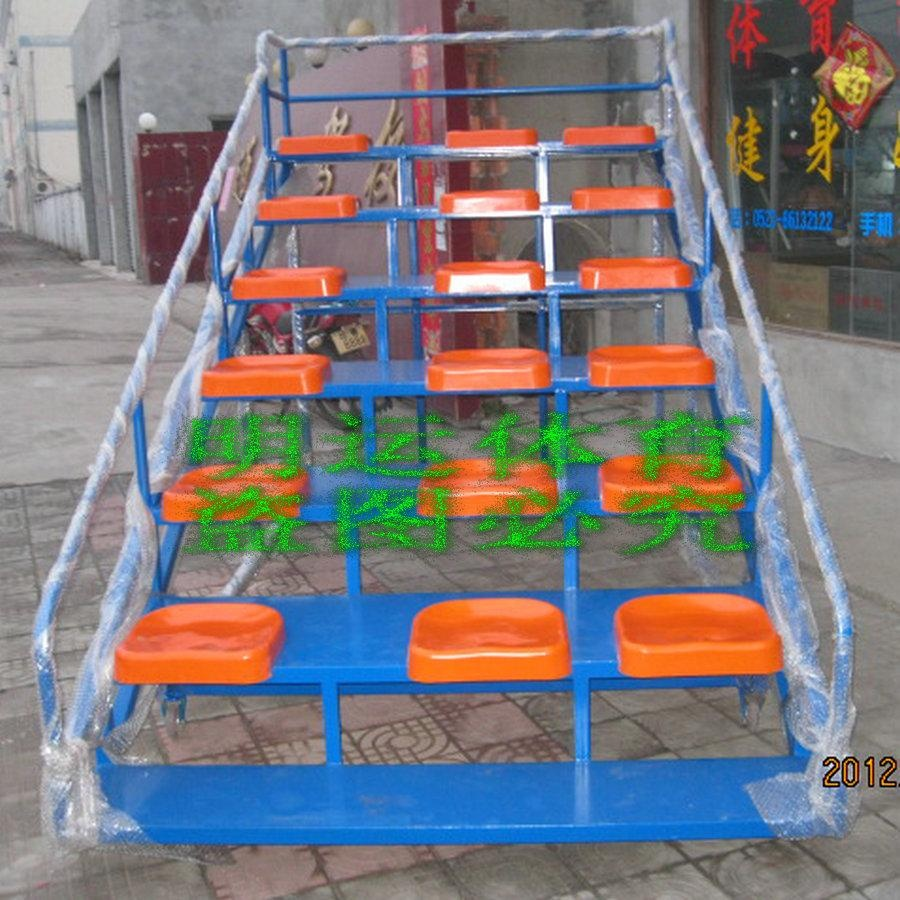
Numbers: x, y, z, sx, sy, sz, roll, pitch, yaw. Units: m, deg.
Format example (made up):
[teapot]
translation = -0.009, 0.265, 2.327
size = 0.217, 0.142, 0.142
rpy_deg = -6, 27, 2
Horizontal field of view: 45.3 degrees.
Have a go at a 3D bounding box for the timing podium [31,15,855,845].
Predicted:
[timing podium]
translation = 0.071, -0.012, 3.075
size = 1.690, 0.866, 2.855
rpy_deg = 0, 41, 3
